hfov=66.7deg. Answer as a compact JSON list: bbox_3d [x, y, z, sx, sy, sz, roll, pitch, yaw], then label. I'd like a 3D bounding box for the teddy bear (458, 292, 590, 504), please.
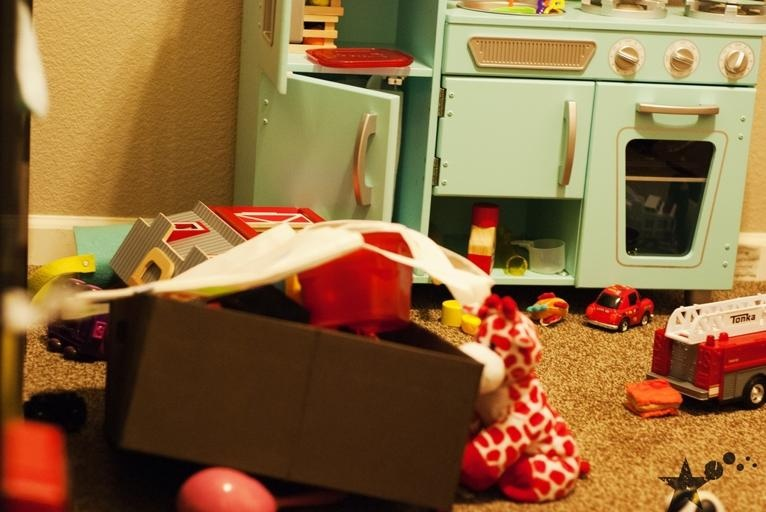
[{"bbox_3d":[0.199,0.251,1.213,0.345,0.448,0.286,3,8,-3],"label":"teddy bear"}]
